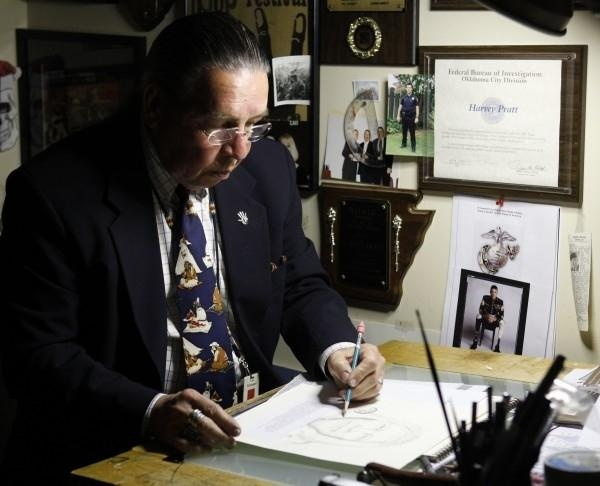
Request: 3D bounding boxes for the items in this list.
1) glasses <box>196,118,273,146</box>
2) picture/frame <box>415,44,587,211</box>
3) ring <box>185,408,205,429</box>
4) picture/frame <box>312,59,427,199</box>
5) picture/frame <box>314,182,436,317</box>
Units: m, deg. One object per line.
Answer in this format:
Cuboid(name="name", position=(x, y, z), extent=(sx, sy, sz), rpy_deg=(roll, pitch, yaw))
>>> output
Cuboid(name="glasses", position=(-0.124, -0.221, 1.013), extent=(0.142, 0.048, 0.047), rpy_deg=(-7, 8, -41))
Cuboid(name="picture/frame", position=(0.615, -0.356, 1.490), extent=(0.430, 0.460, 0.046), rpy_deg=(5, 11, 28))
Cuboid(name="ring", position=(-0.167, 0.278, 0.808), extent=(0.015, 0.031, 0.030), rpy_deg=(4, 50, 14))
Cuboid(name="picture/frame", position=(0.245, -0.397, 1.684), extent=(0.384, 0.573, 0.056), rpy_deg=(5, 13, 26))
Cuboid(name="picture/frame", position=(0.268, 0.014, 1.680), extent=(0.378, 0.446, 0.053), rpy_deg=(7, 11, 32))
